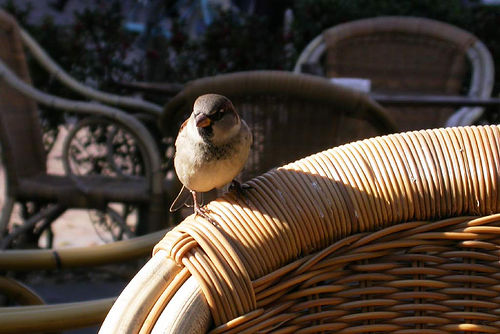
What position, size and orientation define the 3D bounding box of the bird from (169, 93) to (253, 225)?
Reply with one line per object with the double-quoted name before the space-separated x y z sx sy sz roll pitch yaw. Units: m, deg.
"bird" -0.237 -0.072 3.411 0.273 0.418 0.465 -12 16 -29
